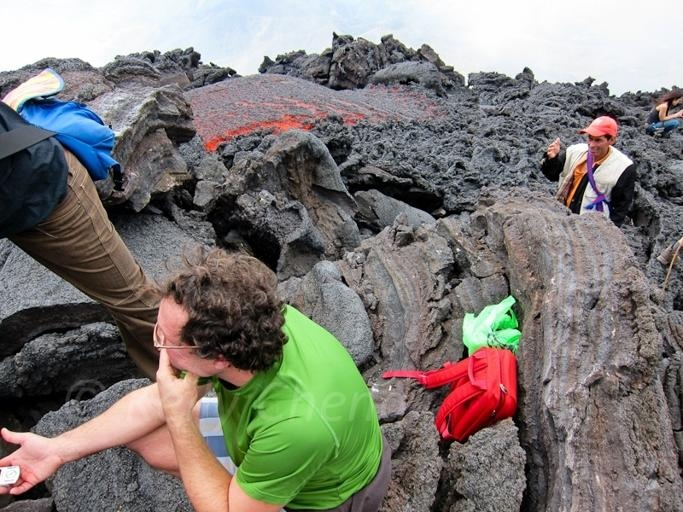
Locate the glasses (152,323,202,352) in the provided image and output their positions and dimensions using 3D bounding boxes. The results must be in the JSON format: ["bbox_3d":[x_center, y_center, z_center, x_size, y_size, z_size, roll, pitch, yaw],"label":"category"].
[{"bbox_3d":[-0.893,0.411,2.898,0.163,0.090,0.211,4,6,14],"label":"glasses"}]

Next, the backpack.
[{"bbox_3d":[0.835,0.901,3.610,0.602,0.477,0.463,4,37,5],"label":"backpack"}]

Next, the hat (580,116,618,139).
[{"bbox_3d":[2.318,-1.125,4.929,0.288,0.147,0.188,-4,22,-15],"label":"hat"}]

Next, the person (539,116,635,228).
[{"bbox_3d":[2.341,-0.859,5.168,0.504,0.896,0.915,-7,37,-8],"label":"person"}]

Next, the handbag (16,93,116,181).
[{"bbox_3d":[-1.668,-0.770,3.412,0.556,0.187,0.420,42,41,-17],"label":"handbag"}]
